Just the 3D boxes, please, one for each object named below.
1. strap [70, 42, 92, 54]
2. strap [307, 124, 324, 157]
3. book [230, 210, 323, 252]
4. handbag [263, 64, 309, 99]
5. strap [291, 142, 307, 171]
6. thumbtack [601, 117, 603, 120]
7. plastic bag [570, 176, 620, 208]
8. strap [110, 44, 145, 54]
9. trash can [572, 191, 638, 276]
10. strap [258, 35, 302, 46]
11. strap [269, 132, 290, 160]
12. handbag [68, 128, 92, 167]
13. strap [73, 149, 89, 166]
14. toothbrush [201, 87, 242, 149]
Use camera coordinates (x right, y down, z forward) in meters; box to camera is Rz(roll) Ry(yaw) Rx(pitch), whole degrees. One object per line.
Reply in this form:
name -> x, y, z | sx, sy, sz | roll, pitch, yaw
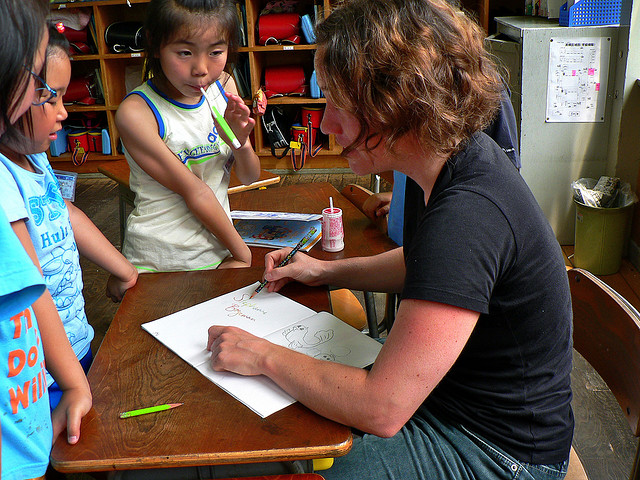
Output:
strap -> -2.528, -2.038, 4.790 | 0.139, 0.047, 0.088 | 0, 22, -41
strap -> -0.057, -1.059, 4.816 | 0.176, 0.322, 0.072 | 2, 11, 45
book -> -0.196, -0.056, 1.857 | 0.348, 0.092, 0.231 | 7, 24, 15
handbag -> -0.378, -1.772, 4.838 | 0.447, 0.314, 0.389 | -8, 54, -4
strap -> -0.218, -0.896, 4.798 | 0.150, 0.296, 0.065 | 0, -4, 1
thumbtack -> 1.918, -0.836, 3.084 | 0.015, 0.004, 0.016 | -10, 39, 5
plastic bag -> 1.806, -0.335, 3.029 | 0.235, 0.193, 0.329 | 2, 23, 2
strap -> -2.027, -1.992, 4.676 | 0.396, 0.090, 0.115 | 9, 27, 26
trash can -> 1.845, -0.052, 2.985 | 0.341, 0.510, 0.243 | 9, 26, 27
strap -> -0.408, -2.030, 4.562 | 0.402, 0.092, 0.107 | -7, 24, -6
strap -> -0.432, -1.020, 4.876 | 0.202, 0.288, 0.108 | -7, 23, -7
handbag -> -2.663, -1.040, 5.031 | 0.165, 0.300, 0.325 | -1, 25, 4
strap -> -2.666, -0.914, 5.021 | 0.113, 0.179, 0.039 | 7, 0, -8
toothbrush -> -0.405, -0.487, 1.832 | 0.032, 0.312, 0.024 | -26, -9, -23
